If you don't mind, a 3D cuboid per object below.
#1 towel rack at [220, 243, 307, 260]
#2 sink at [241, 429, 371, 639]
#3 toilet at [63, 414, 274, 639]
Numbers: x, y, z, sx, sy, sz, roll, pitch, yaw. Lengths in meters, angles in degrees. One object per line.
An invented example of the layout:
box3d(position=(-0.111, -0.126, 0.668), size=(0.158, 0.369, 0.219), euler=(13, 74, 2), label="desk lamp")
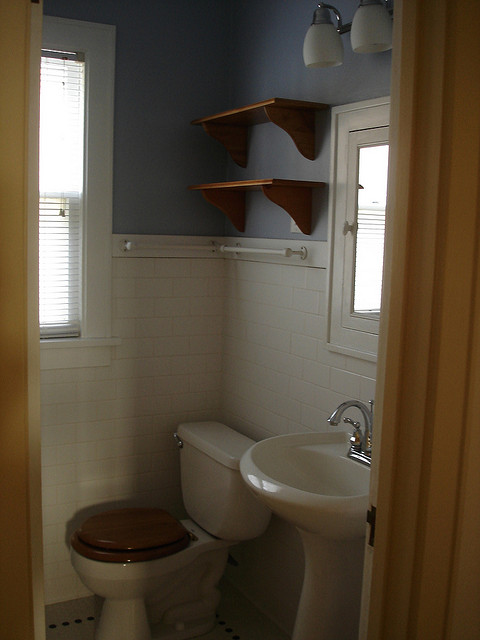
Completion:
box3d(position=(0.078, -0.276, 2.164), size=(0.093, 0.087, 0.590), euler=(-2, 11, -28), label="towel rack")
box3d(position=(0.179, 0.638, 1.478), size=(0.357, 0.535, 0.478), euler=(2, 9, 1), label="sink")
box3d(position=(-0.338, 0.818, 2.320), size=(0.813, 1.138, 0.669), euler=(-1, 6, -26), label="toilet")
